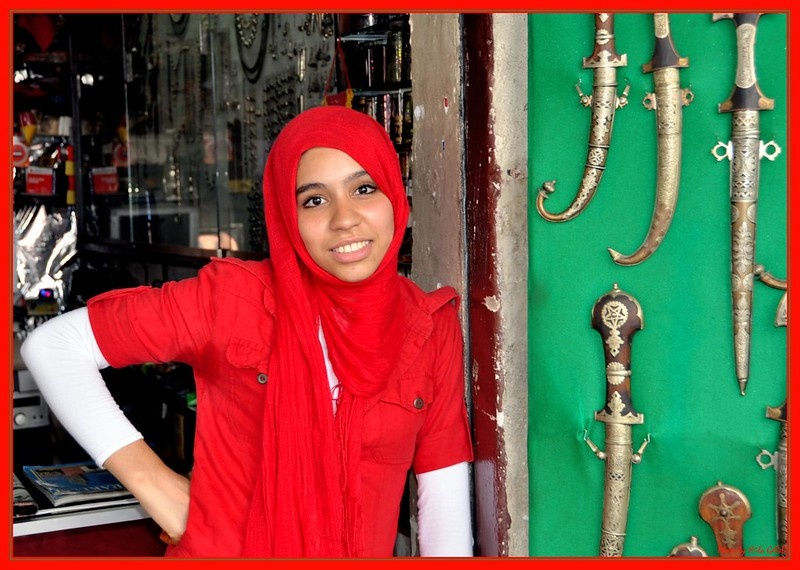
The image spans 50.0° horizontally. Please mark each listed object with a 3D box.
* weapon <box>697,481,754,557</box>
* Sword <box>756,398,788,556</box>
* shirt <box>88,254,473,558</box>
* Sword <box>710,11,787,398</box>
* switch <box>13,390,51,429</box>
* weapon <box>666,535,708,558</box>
[{"bbox_3d":[0.871,0.655,2.279,0.131,0.039,0.282,-7,41,17],"label":"weapon"},{"bbox_3d":[0.976,0.509,2.227,0.083,0.350,0.025,-1,-5,14],"label":"Sword"},{"bbox_3d":[-0.390,0.415,2.638,1.248,0.935,0.419,9,-3,-18],"label":"shirt"},{"bbox_3d":[0.915,-0.247,2.234,0.314,0.996,0.028,0,4,8],"label":"Sword"},{"bbox_3d":[-1.773,0.612,4.213,0.267,0.170,0.146,-9,-8,23],"label":"switch"},{"bbox_3d":[0.792,0.722,2.353,0.070,0.042,0.069,19,-2,-42],"label":"weapon"}]
